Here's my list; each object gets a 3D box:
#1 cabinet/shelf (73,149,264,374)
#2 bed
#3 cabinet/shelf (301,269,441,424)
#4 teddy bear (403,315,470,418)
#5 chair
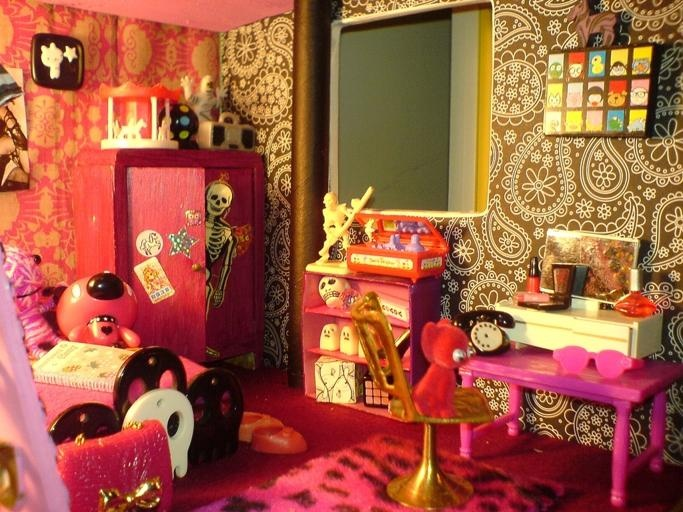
[{"bbox_3d":[-1.274,0.060,4.271,0.554,1.850,1.363,6,7,43],"label":"cabinet/shelf"},{"bbox_3d":[-1.036,0.719,2.880,1.016,0.296,0.979,8,4,42],"label":"bed"},{"bbox_3d":[0.200,0.571,3.372,0.898,0.967,0.300,4,5,42],"label":"cabinet/shelf"},{"bbox_3d":[0.456,0.522,2.493,0.261,0.431,0.196,0,6,-12],"label":"teddy bear"},{"bbox_3d":[0.402,0.664,3.094,0.885,1.390,0.763,-2,8,-15],"label":"chair"}]
